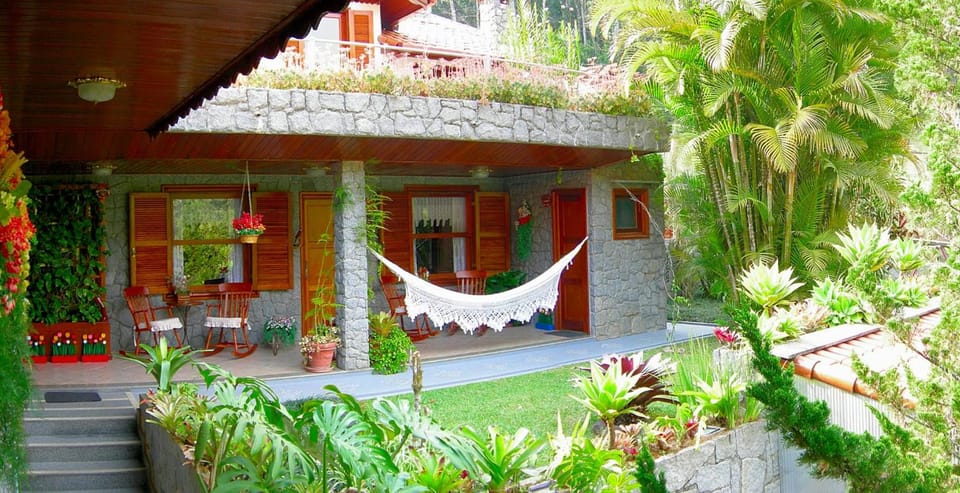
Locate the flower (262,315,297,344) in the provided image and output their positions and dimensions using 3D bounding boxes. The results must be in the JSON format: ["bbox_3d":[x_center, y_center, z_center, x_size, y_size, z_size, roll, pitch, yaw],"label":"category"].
[{"bbox_3d":[-3.423,1.390,11.249,0.496,0.409,0.470,1,-3,-6],"label":"flower"}]

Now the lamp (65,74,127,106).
[{"bbox_3d":[-3.705,-1.519,6.483,0.351,0.122,0.331,-2,-5,-3],"label":"lamp"}]

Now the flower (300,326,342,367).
[{"bbox_3d":[-2.338,1.506,10.079,0.685,0.627,0.614,1,-6,-2],"label":"flower"}]

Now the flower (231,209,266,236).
[{"bbox_3d":[-3.760,-0.358,10.725,0.499,0.315,0.480,4,-4,-30],"label":"flower"}]

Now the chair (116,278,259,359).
[{"bbox_3d":[-4.681,1.180,10.779,1.899,1.091,1.022,-1,8,-15],"label":"chair"}]

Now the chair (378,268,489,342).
[{"bbox_3d":[-0.944,1.007,12.712,1.848,2.015,1.230,-3,3,-8],"label":"chair"}]

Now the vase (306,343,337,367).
[{"bbox_3d":[-2.386,1.596,9.875,0.495,0.408,0.355,-1,8,-15],"label":"vase"}]

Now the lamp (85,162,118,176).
[{"bbox_3d":[-5.685,-1.156,9.882,0.273,0.150,0.265,-3,-2,24],"label":"lamp"}]
